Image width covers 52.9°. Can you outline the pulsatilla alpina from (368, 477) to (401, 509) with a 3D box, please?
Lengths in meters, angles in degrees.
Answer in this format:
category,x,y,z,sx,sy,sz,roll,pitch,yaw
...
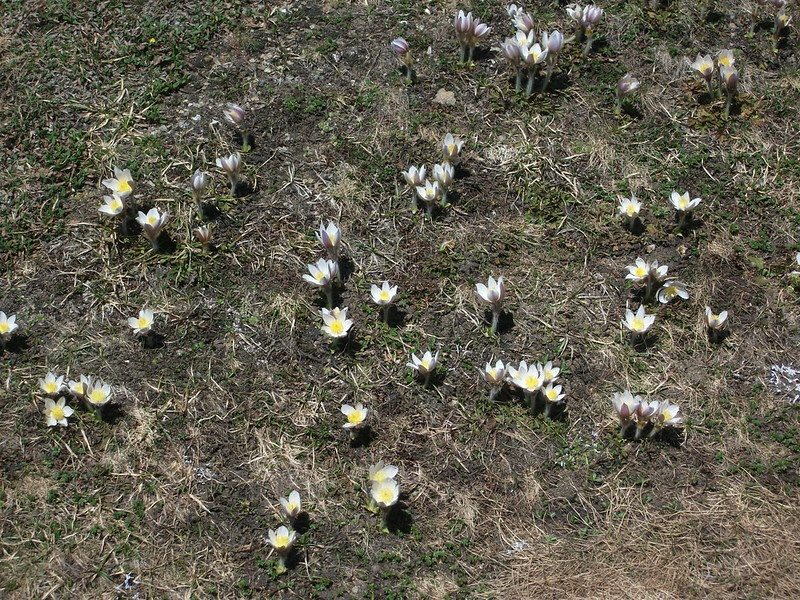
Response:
category,x,y,z,sx,sy,sz,roll,pitch,yaw
pulsatilla alpina,-0.101,1.398,5.823,0.200,0.134,0.187,-22,70,-5

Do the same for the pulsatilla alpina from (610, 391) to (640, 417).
category,x,y,z,sx,sy,sz,roll,pitch,yaw
pulsatilla alpina,1.685,0.774,5.987,0.169,0.152,0.098,-5,106,-27

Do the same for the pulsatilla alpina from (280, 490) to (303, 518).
category,x,y,z,sx,sy,sz,roll,pitch,yaw
pulsatilla alpina,-0.775,1.466,5.775,0.166,0.184,0.168,-2,102,-9

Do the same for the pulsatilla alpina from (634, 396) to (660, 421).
category,x,y,z,sx,sy,sz,roll,pitch,yaw
pulsatilla alpina,1.842,0.797,6.013,0.130,0.162,0.144,14,101,-3

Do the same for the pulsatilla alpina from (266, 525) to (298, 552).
category,x,y,z,sx,sy,sz,roll,pitch,yaw
pulsatilla alpina,-0.852,1.702,5.768,0.199,0.206,0.169,25,72,12

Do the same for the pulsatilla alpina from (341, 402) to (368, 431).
category,x,y,z,sx,sy,sz,roll,pitch,yaw
pulsatilla alpina,-0.340,0.886,6.093,0.196,0.196,0.169,-4,69,1
